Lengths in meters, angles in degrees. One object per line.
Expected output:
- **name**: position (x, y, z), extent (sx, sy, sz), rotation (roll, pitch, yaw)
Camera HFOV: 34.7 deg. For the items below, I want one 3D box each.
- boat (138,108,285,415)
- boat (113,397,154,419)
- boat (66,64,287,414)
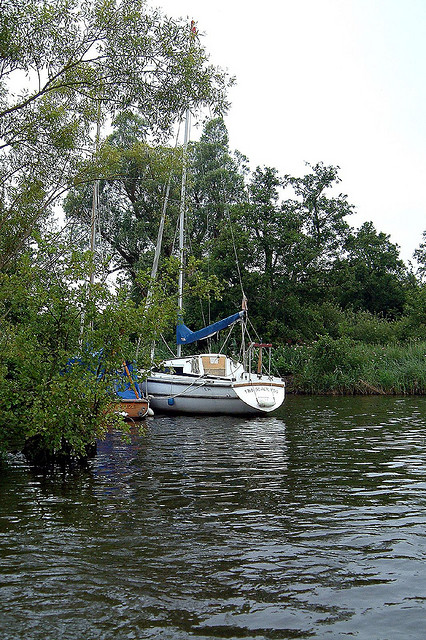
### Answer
- **boat**: position (-0.194, -0.739, 20.444), extent (2.960, 7.041, 5.155), rotation (1, -1, -43)
- **boat**: position (-1.977, 2.270, 17.212), extent (0.525, 0.618, 1.240), rotation (0, -2, 22)
- **boat**: position (-1.679, -1.979, 20.024), extent (6.632, 9.584, 2.698), rotation (2, 17, 32)
